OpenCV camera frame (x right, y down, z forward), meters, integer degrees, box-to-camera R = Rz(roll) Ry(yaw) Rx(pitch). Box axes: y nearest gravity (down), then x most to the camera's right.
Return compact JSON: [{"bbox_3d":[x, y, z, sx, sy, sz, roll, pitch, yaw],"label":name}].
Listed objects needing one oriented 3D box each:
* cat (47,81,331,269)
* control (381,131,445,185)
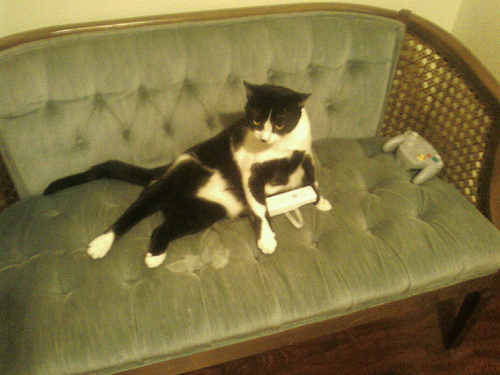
[{"bbox_3d":[-0.238,-0.101,1.738,1.142,0.580,0.533,0,23,-7],"label":"cat"},{"bbox_3d":[0.731,-0.168,2.062,0.288,0.105,0.342,32,22,14],"label":"control"}]
